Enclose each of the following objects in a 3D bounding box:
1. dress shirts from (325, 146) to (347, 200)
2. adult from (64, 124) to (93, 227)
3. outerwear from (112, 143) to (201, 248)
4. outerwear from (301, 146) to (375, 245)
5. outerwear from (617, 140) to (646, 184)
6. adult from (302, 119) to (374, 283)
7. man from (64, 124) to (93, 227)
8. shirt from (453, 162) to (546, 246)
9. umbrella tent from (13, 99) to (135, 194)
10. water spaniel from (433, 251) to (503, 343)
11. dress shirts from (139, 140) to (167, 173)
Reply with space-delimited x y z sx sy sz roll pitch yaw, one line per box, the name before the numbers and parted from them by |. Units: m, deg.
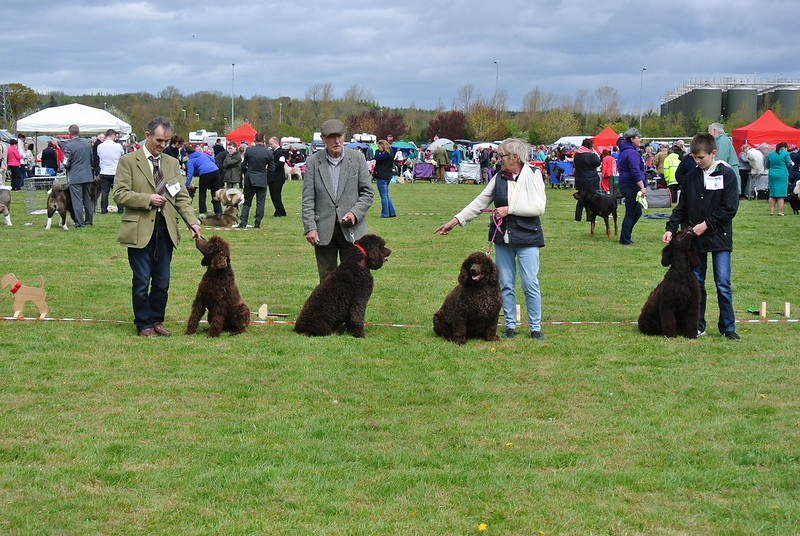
dress shirts | -0.959 -1.378 14.478 0.260 0.611 0.138 -1 2 8
adult | -7.283 -1.925 22.916 0.561 1.998 0.955 -2 7 -19
outerwear | -3.452 -0.971 14.125 1.061 1.403 0.553 -2 7 -17
outerwear | -0.919 -1.028 14.588 0.927 1.392 0.732 -1 16 -6
outerwear | 4.813 -2.158 21.216 0.529 0.961 0.971 1 5 1
adult | -0.947 -0.729 14.800 0.967 2.872 0.939 -1 33 -6
man | -7.282 -1.924 22.912 0.561 1.998 0.947 -2 7 -19
shirt | 1.420 -0.986 14.405 1.190 1.529 0.702 4 -8 2
umbrella tent | -10.395 -4.429 32.224 3.682 2.716 3.587 -1 3 -12
water spaniel | 0.958 0.388 14.622 0.908 1.489 1.341 -3 9 -21
dress shirts | -3.473 -1.552 14.095 0.271 0.421 0.147 5 14 4
